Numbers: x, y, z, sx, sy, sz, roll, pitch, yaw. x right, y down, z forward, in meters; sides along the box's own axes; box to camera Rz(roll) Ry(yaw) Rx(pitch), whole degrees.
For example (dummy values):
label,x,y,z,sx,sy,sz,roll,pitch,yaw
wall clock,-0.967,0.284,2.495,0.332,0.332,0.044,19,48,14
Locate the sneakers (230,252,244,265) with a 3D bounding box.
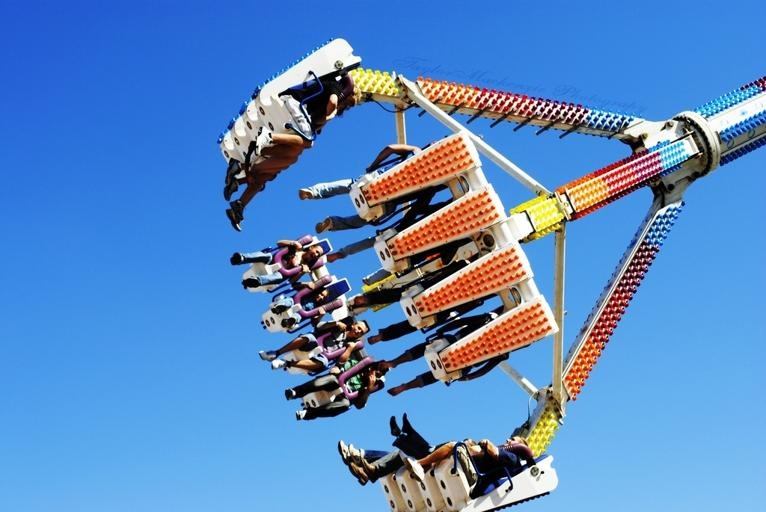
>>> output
label,x,y,z,sx,sy,sz,roll,pitch,yaw
sneakers,-3.760,0.064,33.038,0.210,0.251,0.272,1,-38,-16
